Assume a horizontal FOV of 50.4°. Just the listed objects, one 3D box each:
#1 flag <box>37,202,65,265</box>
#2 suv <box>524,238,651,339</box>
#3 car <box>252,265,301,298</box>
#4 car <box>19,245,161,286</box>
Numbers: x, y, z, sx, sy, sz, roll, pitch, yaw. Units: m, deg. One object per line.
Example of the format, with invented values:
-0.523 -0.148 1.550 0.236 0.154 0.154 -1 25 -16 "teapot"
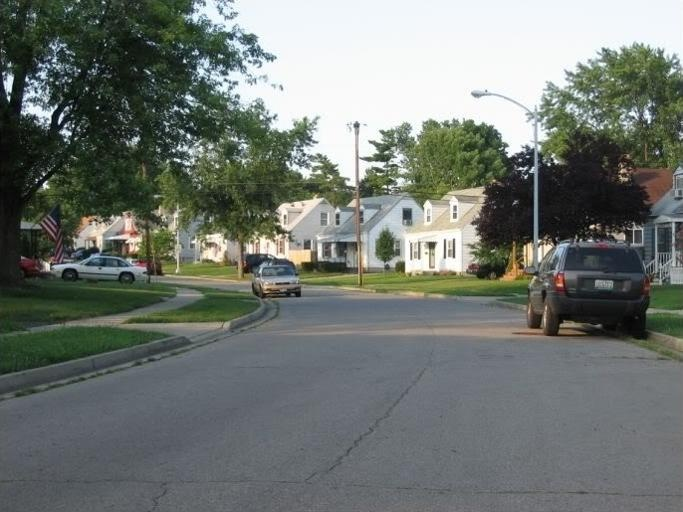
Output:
-14.142 -1.079 35.653 0.918 2.730 6.196 1 -1 -22 "flag"
5.814 0.712 17.427 2.380 2.489 3.849 1 -1 9 "suv"
-3.131 1.231 35.599 1.999 1.610 2.238 1 -1 -16 "car"
-15.000 0.874 44.490 6.864 2.289 2.805 6 -2 -20 "car"
